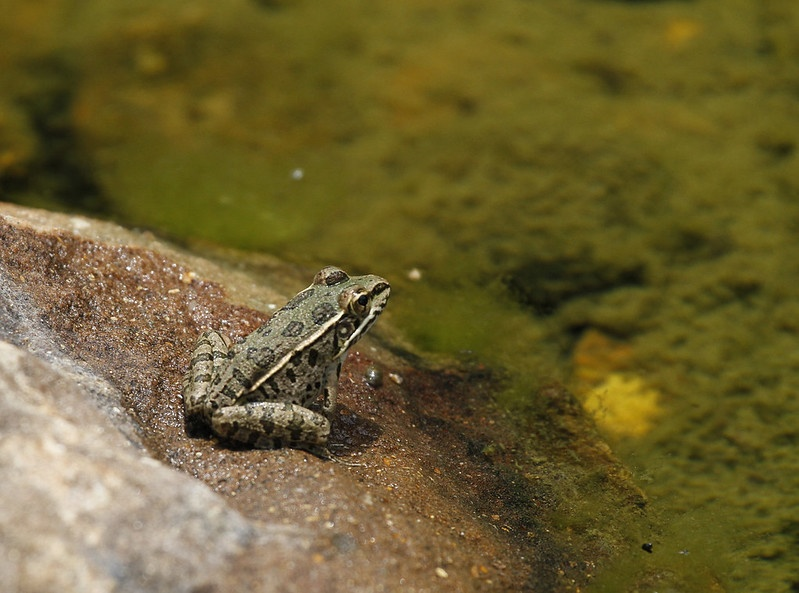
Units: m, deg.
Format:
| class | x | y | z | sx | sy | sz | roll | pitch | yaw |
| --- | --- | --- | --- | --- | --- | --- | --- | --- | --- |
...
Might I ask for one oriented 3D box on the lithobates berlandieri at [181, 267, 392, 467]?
| class | x | y | z | sx | sy | sz | roll | pitch | yaw |
| --- | --- | --- | --- | --- | --- | --- | --- | --- | --- |
| lithobates berlandieri | -1.267 | 0.754 | 10.057 | 2.130 | 1.999 | 1.858 | 1 | 71 | 39 |
